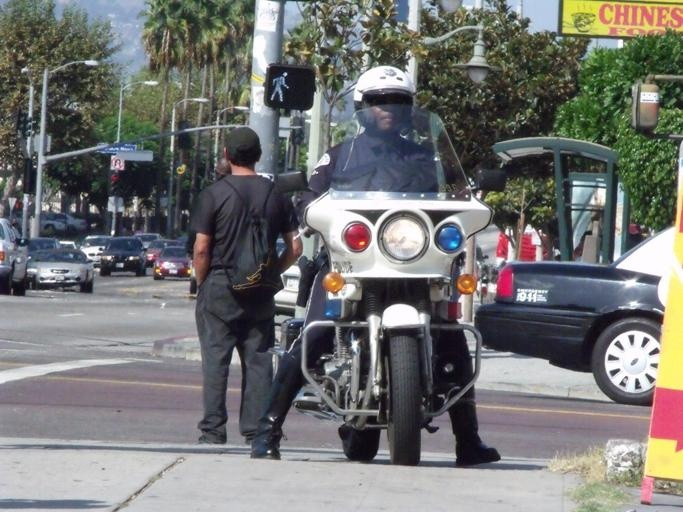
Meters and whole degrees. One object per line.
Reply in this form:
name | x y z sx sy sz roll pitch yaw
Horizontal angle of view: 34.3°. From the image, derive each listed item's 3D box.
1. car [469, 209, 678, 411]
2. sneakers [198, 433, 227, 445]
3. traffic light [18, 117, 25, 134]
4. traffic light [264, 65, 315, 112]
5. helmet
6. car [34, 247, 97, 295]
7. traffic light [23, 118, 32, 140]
car | 2.746 0.839 12.997 2.526 1.148 1.490 1 -1 6
sneakers | -1.068 1.514 9.216 0.224 0.107 0.188 2 1 1
traffic light | -11.979 -5.024 41.987 0.342 0.829 0.720 1 1 -17
traffic light | -0.579 -1.950 12.691 0.522 0.500 0.538 1 -4 -1
helmet | 0.372 -1.263 9.020 0.468 0.578 0.608 2 4 -5
car | -8.460 0.344 33.843 1.092 0.790 2.137 0 -6 -5
traffic light | -11.821 -4.915 42.116 0.373 0.612 0.191 5 2 -33
